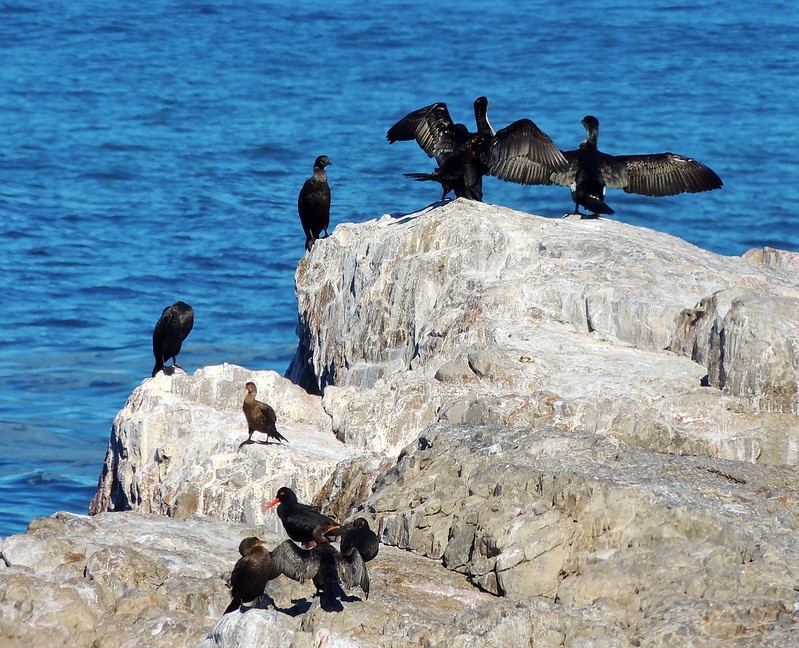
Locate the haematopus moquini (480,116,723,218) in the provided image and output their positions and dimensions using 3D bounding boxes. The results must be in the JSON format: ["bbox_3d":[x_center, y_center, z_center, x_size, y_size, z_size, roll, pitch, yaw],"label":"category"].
[{"bbox_3d":[3.474,-2.299,30.558,2.405,1.528,1.332,2,15,4],"label":"haematopus moquini"}]

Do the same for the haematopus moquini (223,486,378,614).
[{"bbox_3d":[-1.217,2.779,23.098,1.550,1.052,2.158,0,14,-6],"label":"haematopus moquini"}]

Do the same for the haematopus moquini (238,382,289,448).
[{"bbox_3d":[-1.917,1.276,27.910,0.648,1.003,0.816,0,15,-4],"label":"haematopus moquini"}]
